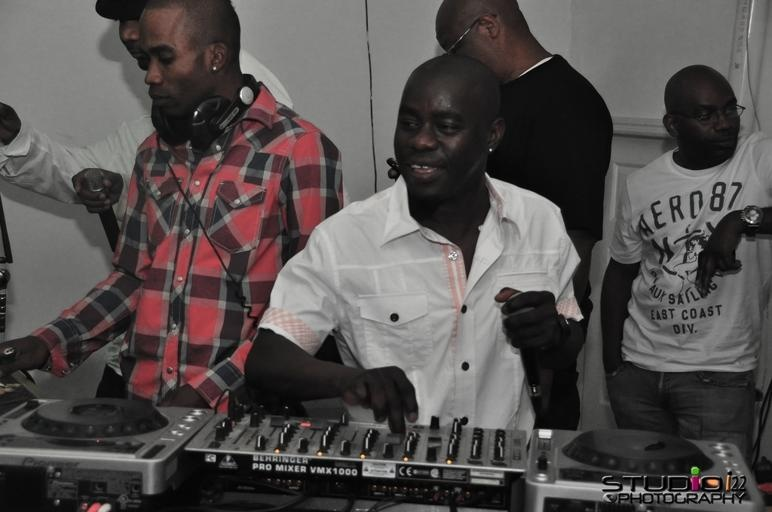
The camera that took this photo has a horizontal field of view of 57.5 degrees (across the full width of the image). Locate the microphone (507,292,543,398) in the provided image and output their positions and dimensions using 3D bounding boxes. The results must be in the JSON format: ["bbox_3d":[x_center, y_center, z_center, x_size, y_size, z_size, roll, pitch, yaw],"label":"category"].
[{"bbox_3d":[0.408,0.300,2.071,0.086,0.378,0.097,-8,23,2],"label":"microphone"}]

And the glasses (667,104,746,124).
[{"bbox_3d":[1.348,-0.599,2.972,0.244,0.066,0.051,-6,16,18],"label":"glasses"}]

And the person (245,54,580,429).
[{"bbox_3d":[0.108,0.040,2.117,1.057,1.194,0.508,-14,15,-9],"label":"person"}]

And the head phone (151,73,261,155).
[{"bbox_3d":[-0.638,-0.505,2.550,0.287,0.110,0.254,-42,16,-32],"label":"head phone"}]

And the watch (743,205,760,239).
[{"bbox_3d":[1.444,-0.141,2.790,0.067,0.112,0.110,3,-2,7],"label":"watch"}]
